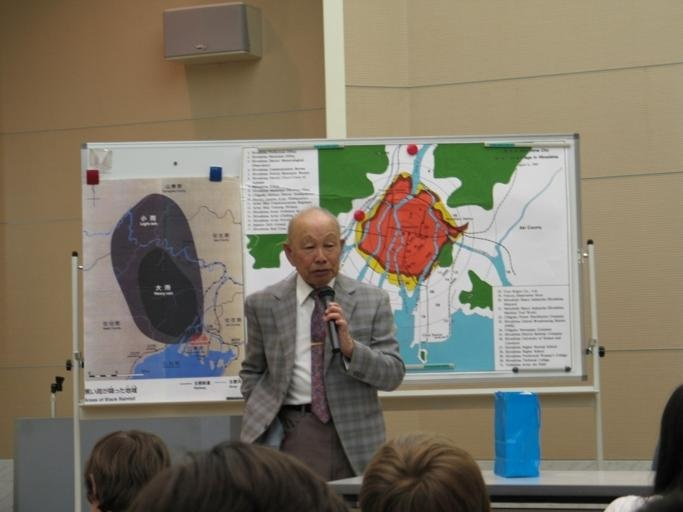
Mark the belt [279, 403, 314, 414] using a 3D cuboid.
[{"bbox_3d":[-0.273,0.915,7.577,0.189,0.050,0.025,1,3,4],"label":"belt"}]

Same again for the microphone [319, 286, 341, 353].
[{"bbox_3d":[-0.069,0.380,7.545,0.110,0.372,0.246,0,3,-9],"label":"microphone"}]

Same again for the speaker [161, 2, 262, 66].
[{"bbox_3d":[-1.091,-1.796,10.297,0.812,0.457,0.426,-2,2,17],"label":"speaker"}]
